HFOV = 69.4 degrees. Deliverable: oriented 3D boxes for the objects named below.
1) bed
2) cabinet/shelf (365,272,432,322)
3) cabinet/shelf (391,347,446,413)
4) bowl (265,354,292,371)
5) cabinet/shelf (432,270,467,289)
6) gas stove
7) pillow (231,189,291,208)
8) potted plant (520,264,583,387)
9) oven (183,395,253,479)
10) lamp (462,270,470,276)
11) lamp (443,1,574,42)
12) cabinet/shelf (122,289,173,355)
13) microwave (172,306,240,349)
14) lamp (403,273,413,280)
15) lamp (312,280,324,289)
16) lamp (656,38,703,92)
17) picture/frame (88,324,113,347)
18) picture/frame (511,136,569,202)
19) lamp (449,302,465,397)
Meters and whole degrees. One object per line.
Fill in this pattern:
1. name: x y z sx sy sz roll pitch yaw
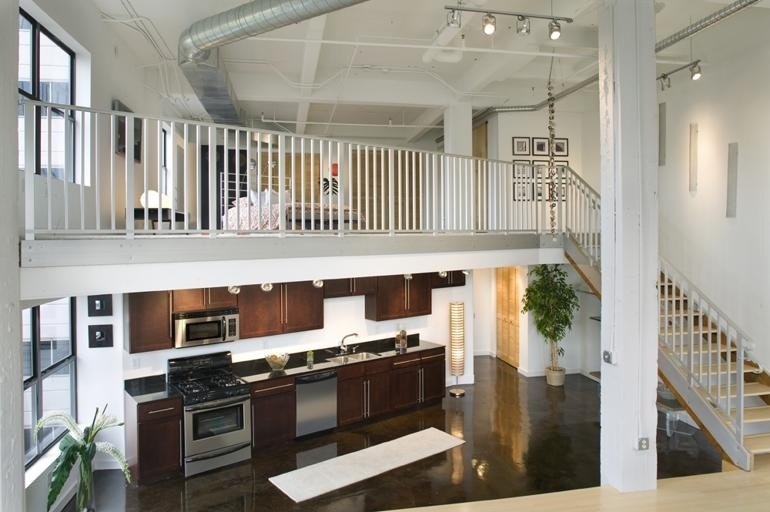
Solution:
1. bed: -1.535 -0.911 9.345 1.852 0.963 4.891 -3 10 -8
2. cabinet/shelf: 0.224 0.799 11.129 1.192 0.966 0.452 -1 2 -31
3. cabinet/shelf: 0.629 2.473 11.028 1.273 1.080 0.524 -1 0 -34
4. bowl: -1.933 1.902 10.093 0.412 0.304 0.503 -5 11 -16
5. cabinet/shelf: 1.402 0.511 11.966 0.942 0.399 0.147 -7 11 -28
6. gas stove: -2.960 2.090 9.338 1.095 0.613 0.803 -2 9 -39
7. pillow: -1.972 -0.928 9.066 0.949 0.311 1.058 -2 8 -12
8. potted plant: 3.641 1.431 12.251 1.153 2.669 1.013 1 10 13
9. oven: -2.790 2.856 9.340 1.158 1.334 1.044 1 -4 -35
10. lamp: 1.793 0.377 12.164 0.171 0.057 0.123 3 5 31
11. lamp: 1.883 -3.635 8.625 1.919 0.590 1.045 -7 11 -27
12. cabinet/shelf: -3.834 0.920 9.210 0.739 1.250 0.399 -3 23 -25
13. microwave: -3.030 1.212 9.444 1.005 0.630 0.633 -1 0 -36
14. lamp: 0.516 0.425 11.354 0.116 0.163 0.151 1 -1 -26
15. lamp: -1.212 0.516 10.339 0.230 0.054 0.227 14 -27 -33
16. lamp: 5.224 -3.406 9.799 0.719 0.822 1.582 3 11 26
17. picture/frame: -4.569 1.266 8.898 0.382 0.402 0.043 0 -1 -21
18. picture/frame: 3.151 -1.764 11.460 1.802 1.986 0.081 1 -3 -24
19. lamp: 1.552 1.930 11.911 0.366 1.870 0.622 -1 10 7
